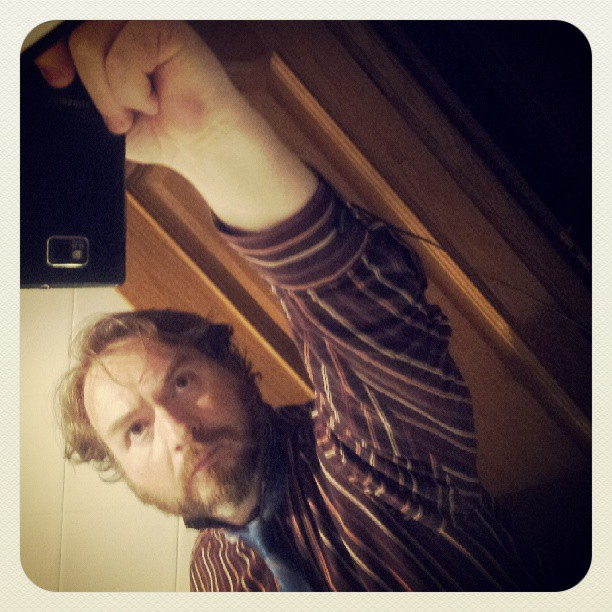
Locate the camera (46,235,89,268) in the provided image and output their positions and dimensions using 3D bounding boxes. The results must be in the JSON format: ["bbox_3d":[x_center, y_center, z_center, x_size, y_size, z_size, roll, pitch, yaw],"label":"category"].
[{"bbox_3d":[-0.450,-0.096,1.430,0.059,0.015,0.068,2,92,4],"label":"camera"}]

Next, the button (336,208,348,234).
[{"bbox_3d":[0.073,-0.157,1.439,0.018,0.009,0.049,4,82,-12],"label":"button"}]

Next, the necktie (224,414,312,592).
[{"bbox_3d":[-0.056,0.362,1.515,0.047,0.174,0.345,-9,76,-35],"label":"necktie"}]
